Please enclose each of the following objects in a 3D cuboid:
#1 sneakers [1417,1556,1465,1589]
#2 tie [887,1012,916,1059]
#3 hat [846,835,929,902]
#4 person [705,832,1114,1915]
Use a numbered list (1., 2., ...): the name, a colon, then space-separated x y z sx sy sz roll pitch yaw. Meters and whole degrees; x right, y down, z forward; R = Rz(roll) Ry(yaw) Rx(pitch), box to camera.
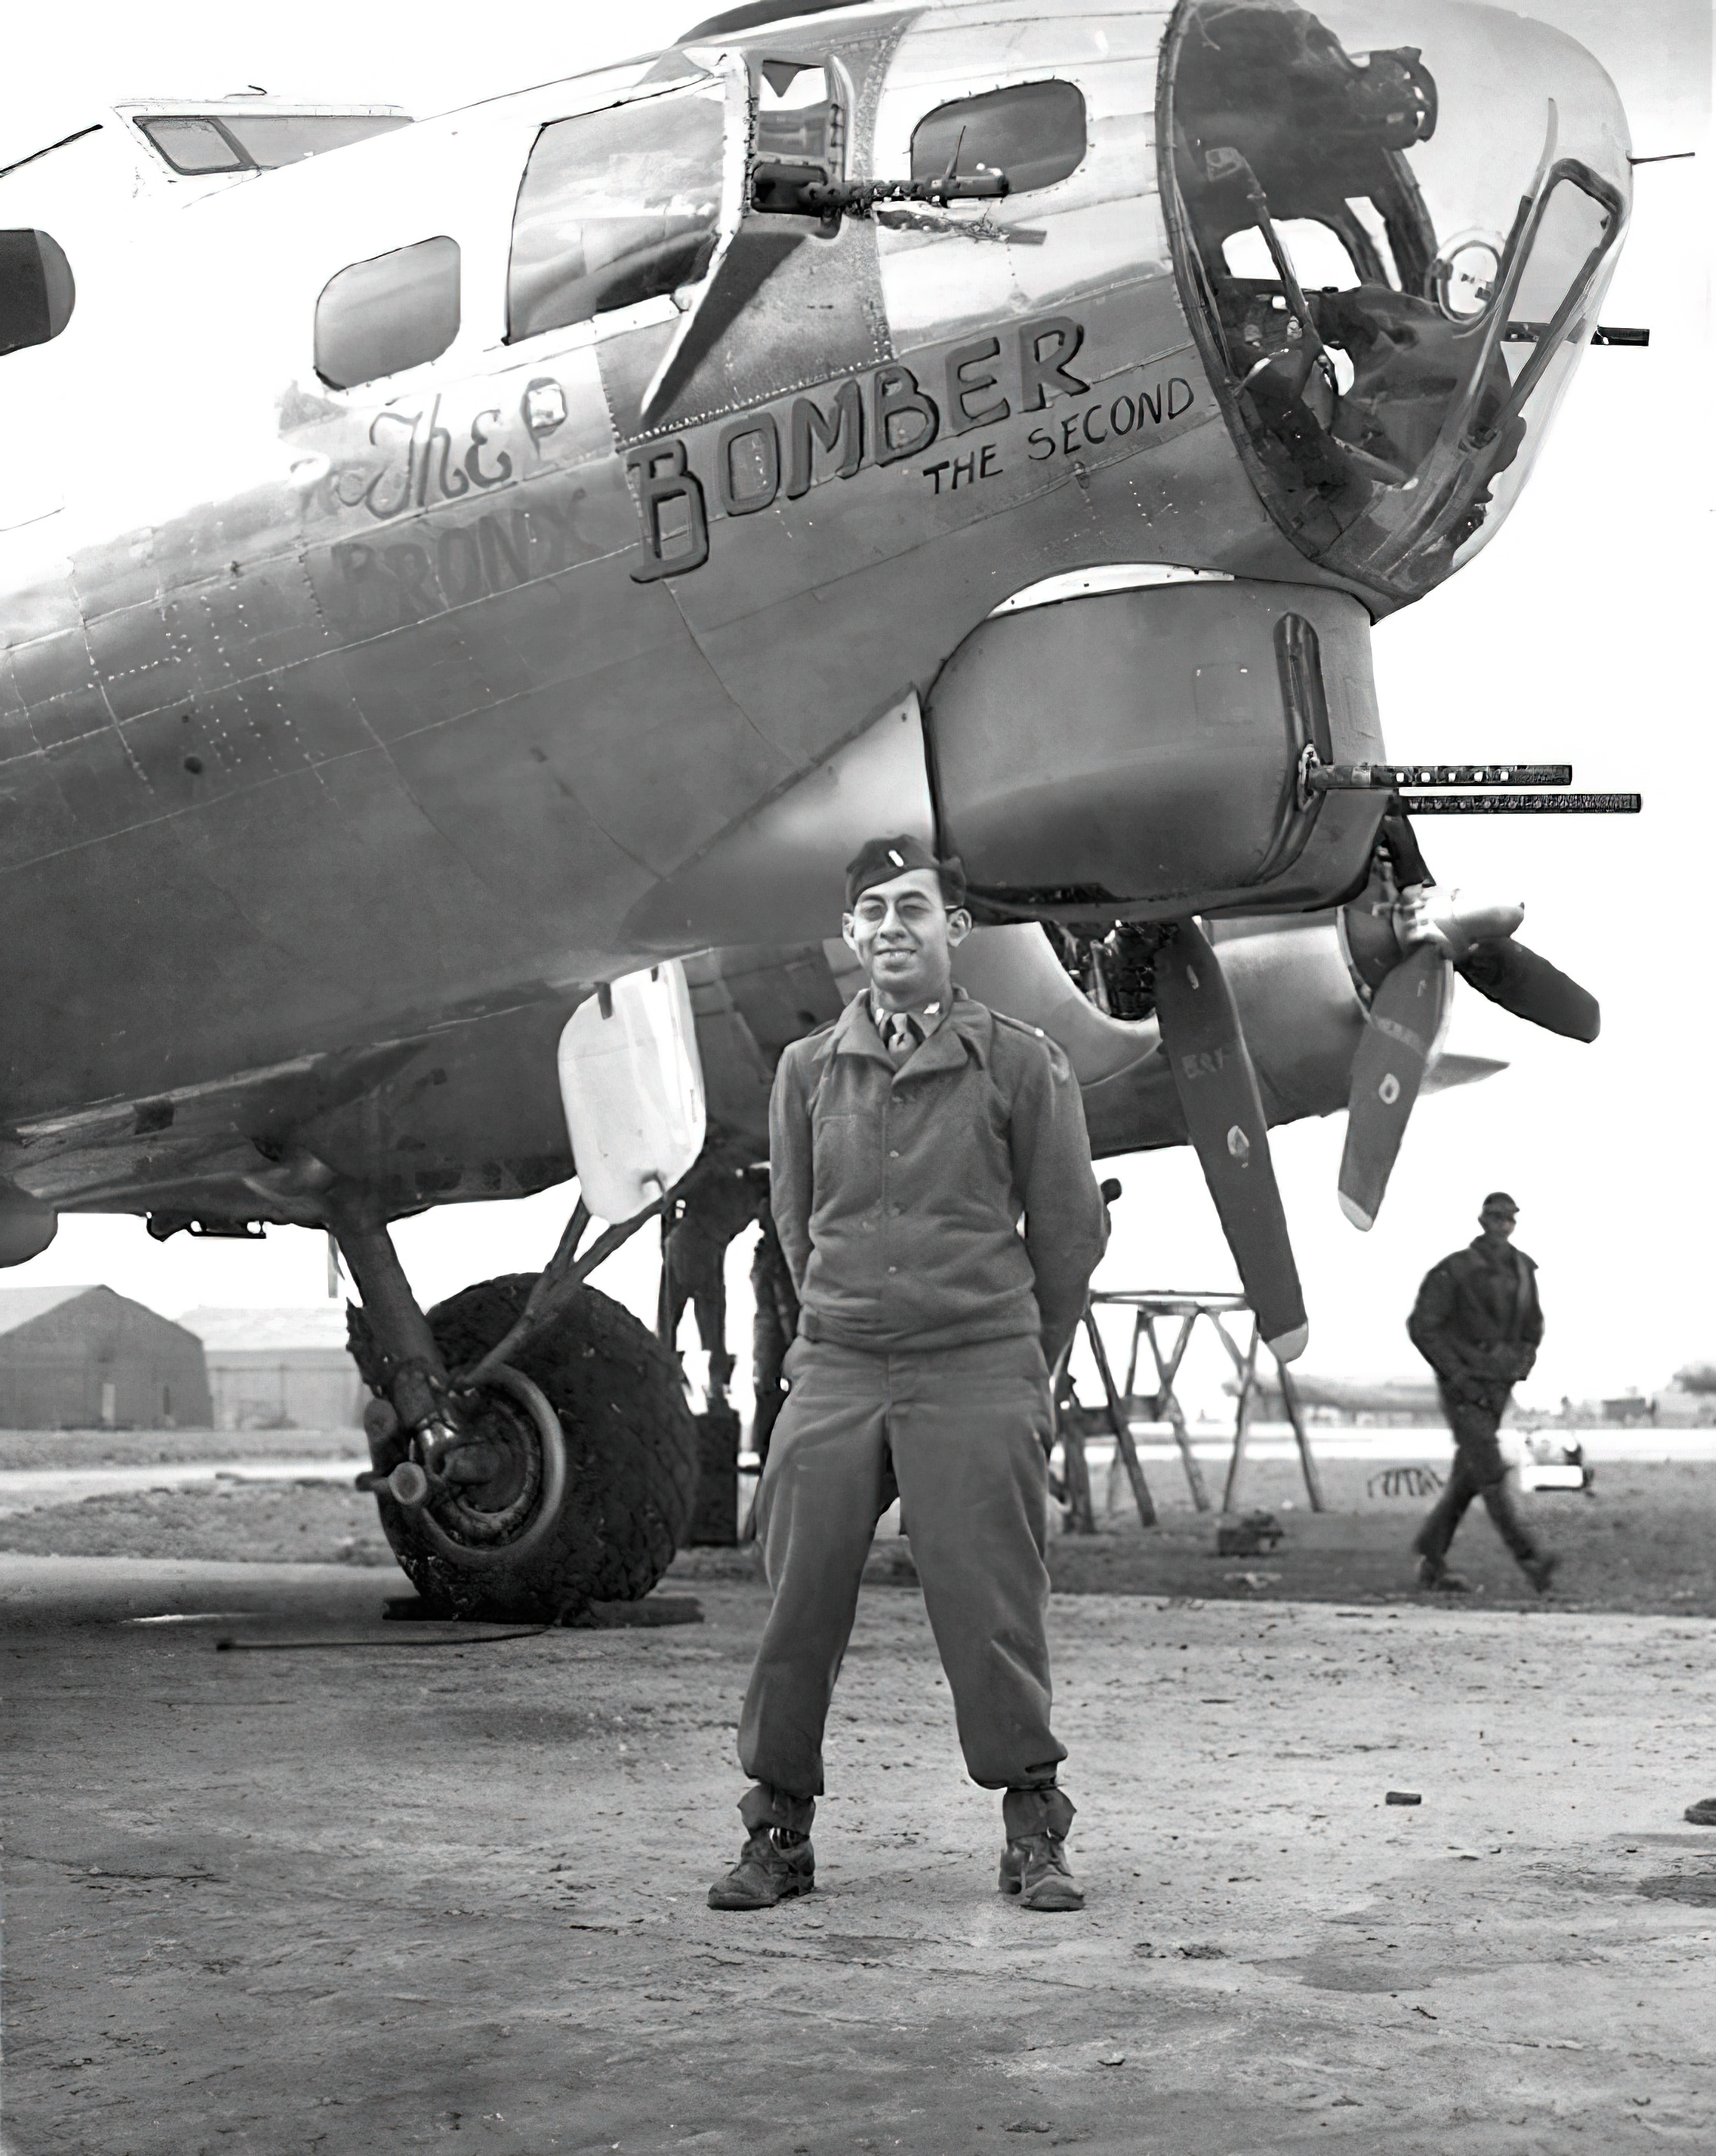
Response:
1. sneakers: 2.129 1.815 10.258 0.105 0.163 0.167 -3 -14 13
2. tie: 0.063 -0.066 4.244 0.048 0.063 0.018 -3 -7 38
3. hat: 0.045 -0.339 4.349 0.097 0.067 0.132 -13 -5 0
4. person: 0.070 0.465 4.186 0.595 1.616 0.769 -2 9 5
